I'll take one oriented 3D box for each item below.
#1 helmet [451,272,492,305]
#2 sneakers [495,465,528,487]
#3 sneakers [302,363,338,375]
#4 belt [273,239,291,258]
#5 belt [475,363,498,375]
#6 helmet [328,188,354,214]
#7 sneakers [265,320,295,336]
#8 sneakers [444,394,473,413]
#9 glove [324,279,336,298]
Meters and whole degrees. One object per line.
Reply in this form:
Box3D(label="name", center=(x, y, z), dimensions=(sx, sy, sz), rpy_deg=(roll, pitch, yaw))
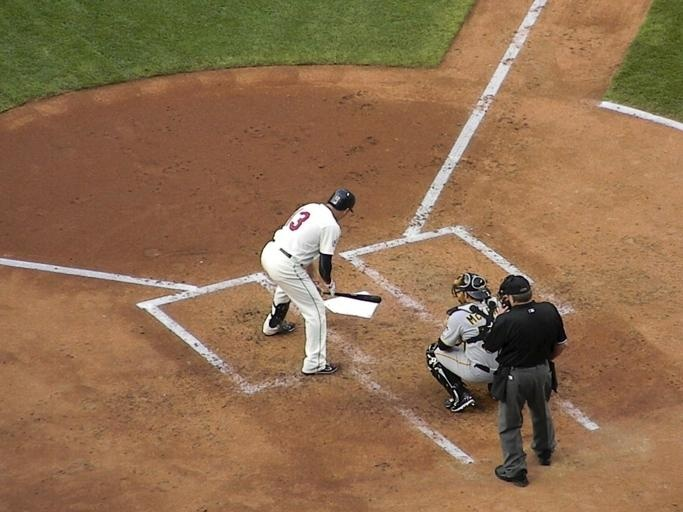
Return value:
Box3D(label="helmet", center=(1.785, 0.421, 13.586), dimensions=(0.402, 0.331, 0.468), rpy_deg=(-19, 46, -30))
Box3D(label="sneakers", center=(2.163, 2.780, 12.774), dimensions=(0.192, 0.231, 0.395), rpy_deg=(-26, 42, -35))
Box3D(label="sneakers", center=(-0.306, 1.612, 14.471), dimensions=(0.522, 0.182, 0.162), rpy_deg=(-6, 35, -7))
Box3D(label="belt", center=(-0.821, -0.093, 14.075), dimensions=(0.262, 0.082, 0.070), rpy_deg=(43, 107, 17))
Box3D(label="belt", center=(1.924, 1.501, 13.493), dimensions=(0.191, 0.162, 0.059), rpy_deg=(20, 98, 14))
Box3D(label="helmet", center=(0.057, -0.766, 14.161), dimensions=(0.207, 0.390, 0.270), rpy_deg=(-45, 80, 12))
Box3D(label="sneakers", center=(-0.909, 1.064, 15.063), dimensions=(0.531, 0.205, 0.140), rpy_deg=(-5, 84, -23))
Box3D(label="sneakers", center=(1.616, 2.016, 13.886), dimensions=(0.182, 0.486, 0.200), rpy_deg=(-25, 103, -40))
Box3D(label="glove", center=(-0.157, 0.466, 14.649), dimensions=(0.227, 0.274, 0.159), rpy_deg=(11, 75, -1))
